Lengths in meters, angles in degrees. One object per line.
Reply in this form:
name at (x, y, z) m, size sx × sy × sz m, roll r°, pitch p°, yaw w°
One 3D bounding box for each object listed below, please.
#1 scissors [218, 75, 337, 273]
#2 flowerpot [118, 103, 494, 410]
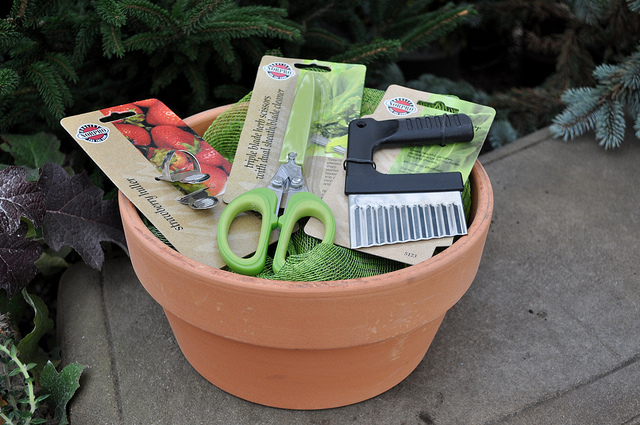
scissors at (-0.067, -0.091, 1.287) m, size 0.199 × 0.052 × 0.389 m, roll 15°, pitch 62°, yaw 2°
flowerpot at (-0.021, 0.131, 1.365) m, size 0.679 × 0.340 × 0.685 m, roll 0°, pitch 32°, yaw -3°
